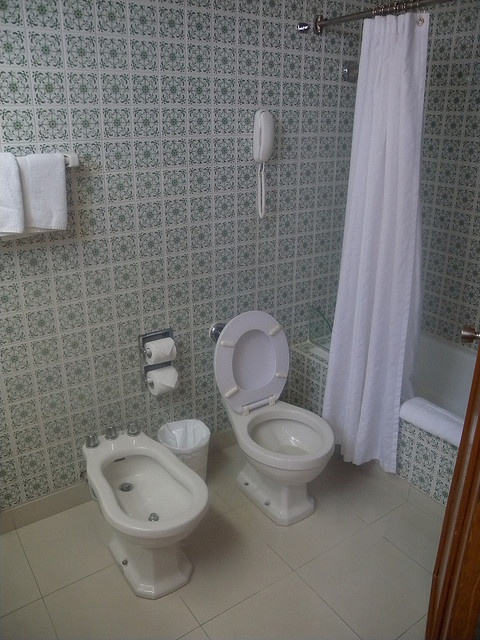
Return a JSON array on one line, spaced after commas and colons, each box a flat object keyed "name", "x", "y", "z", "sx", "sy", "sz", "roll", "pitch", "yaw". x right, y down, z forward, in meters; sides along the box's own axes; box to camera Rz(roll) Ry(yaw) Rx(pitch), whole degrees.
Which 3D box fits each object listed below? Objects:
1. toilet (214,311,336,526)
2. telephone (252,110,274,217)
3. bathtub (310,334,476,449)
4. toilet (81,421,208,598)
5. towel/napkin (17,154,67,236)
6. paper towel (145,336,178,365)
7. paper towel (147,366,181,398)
[{"name": "toilet", "x": 0.131, "y": 0.382, "z": 2.029, "sx": 0.421, "sy": 0.803, "sz": 0.623, "roll": -11, "pitch": 23, "yaw": -27}, {"name": "telephone", "x": 0.097, "y": -0.649, "z": 2.058, "sx": 0.092, "sy": 0.449, "sz": 0.134, "roll": 1, "pitch": 20, "yaw": 3}, {"name": "bathtub", "x": 0.839, "y": 0.292, "z": 2.184, "sx": 0.584, "sy": 0.231, "sz": 0.418, "roll": -19, "pitch": 31, "yaw": -40}, {"name": "toilet", "x": -0.337, "y": 0.704, "z": 1.727, "sx": 0.299, "sy": 0.376, "sz": 0.517, "roll": -12, "pitch": 22, "yaw": -33}, {"name": "towel/napkin", "x": -0.626, "y": -0.397, "z": 1.535, "sx": 0.053, "sy": 0.220, "sz": 0.190, "roll": 12, "pitch": 19, "yaw": 32}, {"name": "paper towel", "x": -0.318, "y": 0.128, "z": 1.997, "sx": 0.114, "sy": 0.111, "sz": 0.093, "roll": -13, "pitch": 2, "yaw": -42}, {"name": "paper towel", "x": -0.323, "y": 0.247, "z": 2.009, "sx": 0.119, "sy": 0.094, "sz": 0.132, "roll": -10, "pitch": 24, "yaw": -25}]
